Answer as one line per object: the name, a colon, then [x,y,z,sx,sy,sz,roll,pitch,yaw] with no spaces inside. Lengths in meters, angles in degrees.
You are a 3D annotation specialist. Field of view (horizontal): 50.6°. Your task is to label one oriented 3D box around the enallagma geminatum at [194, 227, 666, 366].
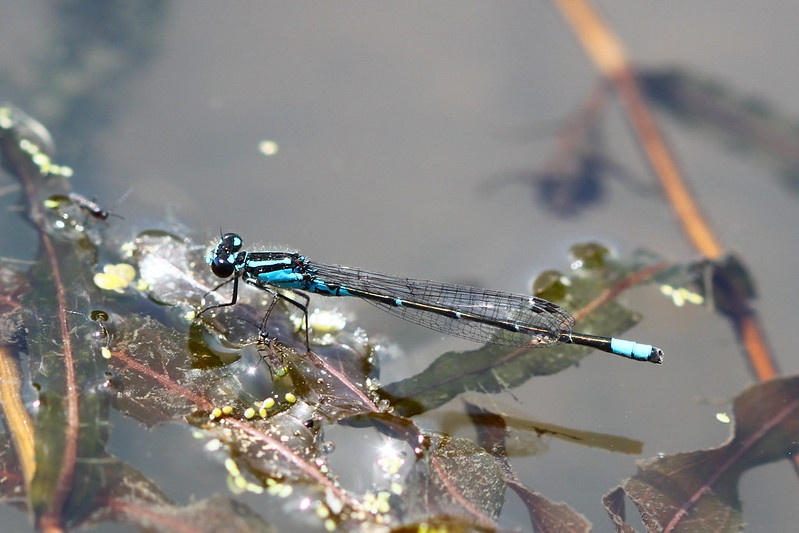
enallagma geminatum: [0.328,0.383,8.594,2.792,0.600,0.692,13,56,1]
